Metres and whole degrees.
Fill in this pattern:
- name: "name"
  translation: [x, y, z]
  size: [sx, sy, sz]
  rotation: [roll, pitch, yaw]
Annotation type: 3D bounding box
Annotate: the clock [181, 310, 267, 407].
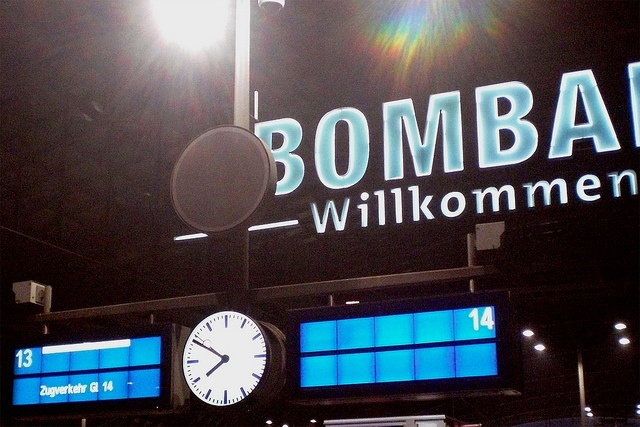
- name: "clock"
  translation: [-1.317, 2.083, 12.063]
  size: [1.236, 1.324, 0.214]
  rotation: [-4, -19, 15]
